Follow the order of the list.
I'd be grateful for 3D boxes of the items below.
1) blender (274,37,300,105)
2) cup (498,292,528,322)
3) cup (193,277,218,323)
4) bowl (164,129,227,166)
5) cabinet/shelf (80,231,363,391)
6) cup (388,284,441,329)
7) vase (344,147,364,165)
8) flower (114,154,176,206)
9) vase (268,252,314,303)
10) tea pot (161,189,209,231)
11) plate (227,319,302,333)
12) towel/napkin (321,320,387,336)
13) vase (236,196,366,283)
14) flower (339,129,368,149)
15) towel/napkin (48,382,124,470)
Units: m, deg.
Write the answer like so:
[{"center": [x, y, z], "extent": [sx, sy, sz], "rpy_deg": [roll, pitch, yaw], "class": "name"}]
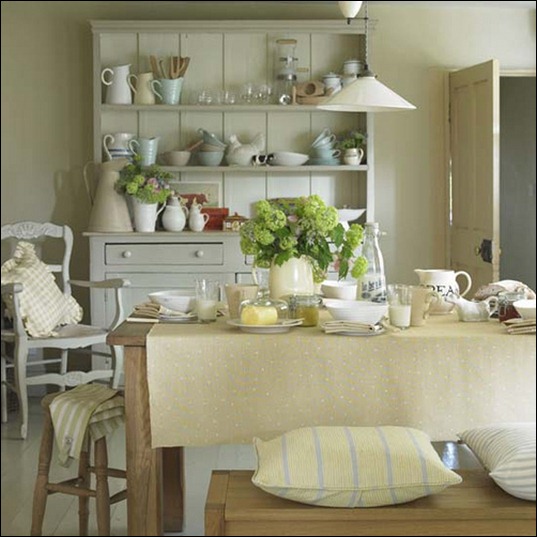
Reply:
[{"center": [0.120, -1.348, 3.885], "extent": [0.178, 0.471, 0.208], "rpy_deg": [-3, 5, 2], "class": "blender"}, {"center": [0.721, 0.114, 1.712], "extent": [0.105, 0.084, 0.067], "rpy_deg": [-1, 3, 2], "class": "cup"}, {"center": [-0.188, 0.099, 1.738], "extent": [0.070, 0.131, 0.067], "rpy_deg": [-3, 5, 0], "class": "cup"}, {"center": [-0.502, -0.810, 3.926], "extent": [0.398, 0.195, 0.258], "rpy_deg": [-1, 0, 7], "class": "bowl"}, {"center": [-0.367, 0.209, 3.772], "extent": [1.593, 1.260, 0.570], "rpy_deg": [-1, -1, -3], "class": "cabinet/shelf"}, {"center": [0.405, 0.106, 1.637], "extent": [0.167, 0.101, 0.098], "rpy_deg": [1, 1, -3], "class": "cup"}, {"center": [0.590, -0.755, 3.850], "extent": [0.162, 0.126, 0.099], "rpy_deg": [-5, 5, -27], "class": "vase"}, {"center": [-0.807, -0.575, 3.640], "extent": [0.359, 0.299, 0.167], "rpy_deg": [-2, 5, 0], "class": "flower"}, {"center": [0.081, 0.021, 1.813], "extent": [0.151, 0.124, 0.139], "rpy_deg": [-1, -6, 6], "class": "vase"}, {"center": [-0.597, -0.371, 3.828], "extent": [0.349, 0.262, 0.233], "rpy_deg": [3, -4, -34], "class": "tea pot"}, {"center": [-0.012, 0.163, 1.593], "extent": [0.203, 0.035, 0.111], "rpy_deg": [-2, 4, 8], "class": "plate"}, {"center": [0.236, 0.161, 1.594], "extent": [0.184, 0.040, 0.124], "rpy_deg": [-2, 4, 7], "class": "towel/napkin"}, {"center": [0.111, -0.101, 1.821], "extent": [0.343, 0.207, 0.311], "rpy_deg": [6, 0, 6], "class": "vase"}, {"center": [0.566, -0.871, 3.845], "extent": [0.184, 0.120, 0.114], "rpy_deg": [-3, 5, -6], "class": "flower"}, {"center": [-0.609, 0.523, 1.904], "extent": [0.223, 0.232, 0.306], "rpy_deg": [-5, 5, -28], "class": "towel/napkin"}]
